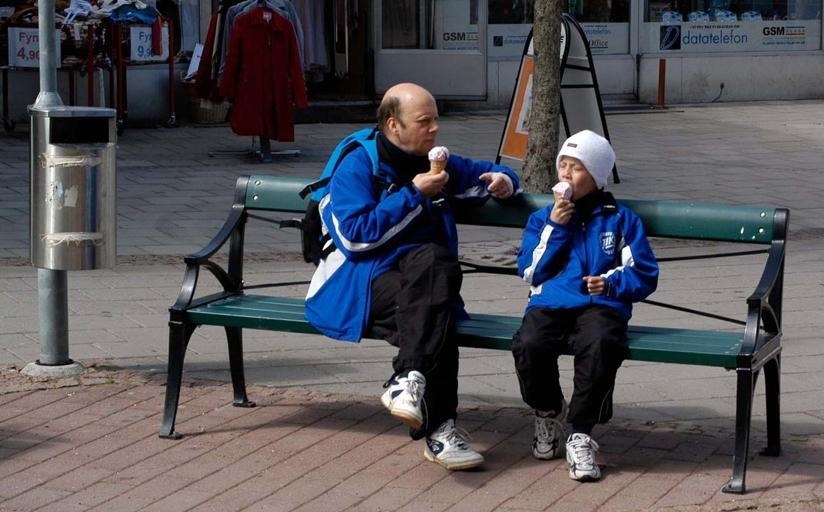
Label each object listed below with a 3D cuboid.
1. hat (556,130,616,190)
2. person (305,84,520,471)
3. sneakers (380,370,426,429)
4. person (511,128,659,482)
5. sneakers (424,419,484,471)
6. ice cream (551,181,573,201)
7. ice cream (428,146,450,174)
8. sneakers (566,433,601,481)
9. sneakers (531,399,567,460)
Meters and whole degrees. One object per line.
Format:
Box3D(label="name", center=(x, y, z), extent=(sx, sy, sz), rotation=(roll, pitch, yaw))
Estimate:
Box3D(label="hat", center=(1.118, -0.612, 6.948), extent=(0.415, 0.309, 0.285), rotation=(5, 12, -25))
Box3D(label="person", center=(-0.157, 0.104, 6.881), extent=(1.016, 2.292, 1.194), rotation=(-2, 13, -5))
Box3D(label="sneakers", center=(-0.051, 0.843, 6.564), extent=(0.240, 0.310, 0.211), rotation=(0, 12, 5))
Box3D(label="person", center=(1.037, 0.281, 6.764), extent=(0.837, 2.028, 0.841), rotation=(2, 13, 14))
Box3D(label="sneakers", center=(0.242, 1.147, 6.799), extent=(0.235, 0.226, 0.538), rotation=(-7, 9, -25))
Box3D(label="ice cream", center=(0.902, -0.394, 6.833), extent=(0.126, 0.108, 0.108), rotation=(-20, 6, 30))
Box3D(label="ice cream", center=(0.167, -0.608, 6.963), extent=(0.127, 0.157, 0.259), rotation=(-1, 11, 2))
Box3D(label="sneakers", center=(1.031, 1.187, 6.685), extent=(0.211, 0.274, 0.271), rotation=(1, 12, 7))
Box3D(label="sneakers", center=(0.862, 1.072, 6.872), extent=(0.175, 0.383, 0.199), rotation=(2, -19, 26))
